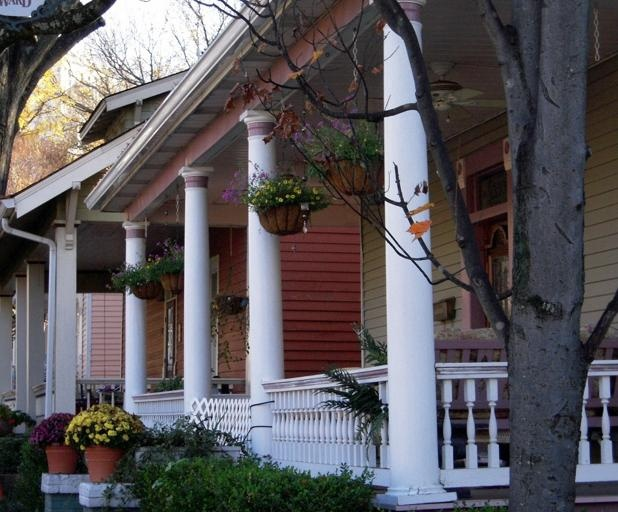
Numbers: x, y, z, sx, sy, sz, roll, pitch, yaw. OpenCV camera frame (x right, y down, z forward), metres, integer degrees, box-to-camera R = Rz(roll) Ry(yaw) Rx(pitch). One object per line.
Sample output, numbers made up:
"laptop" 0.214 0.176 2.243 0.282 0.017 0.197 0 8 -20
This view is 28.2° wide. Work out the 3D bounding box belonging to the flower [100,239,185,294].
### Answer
"flower" -1.885 0.195 14.729 0.791 0.920 0.743 -2 -3 -4
